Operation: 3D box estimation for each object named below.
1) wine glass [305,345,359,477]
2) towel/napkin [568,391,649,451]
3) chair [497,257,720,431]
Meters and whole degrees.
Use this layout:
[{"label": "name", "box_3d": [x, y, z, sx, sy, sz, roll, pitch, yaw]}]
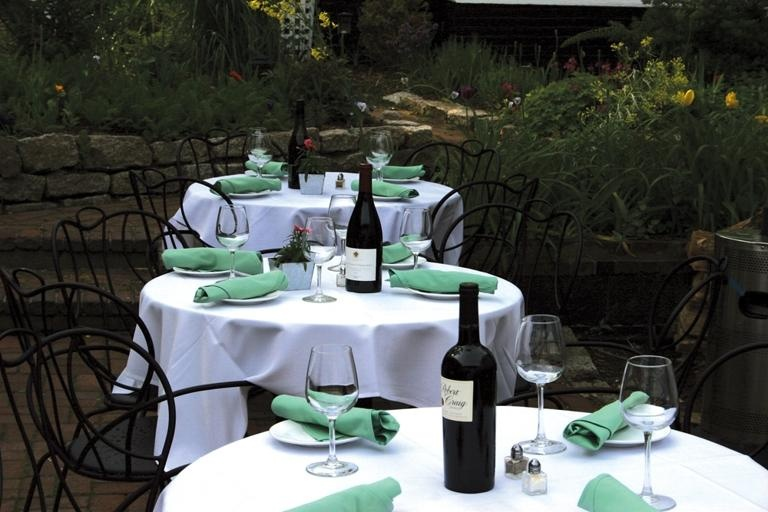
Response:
[{"label": "wine glass", "box_3d": [-0.186, 0.533, 2.829, 0.185, 0.452, 0.180, 1, 11, -6]}, {"label": "towel/napkin", "box_3d": [0.798, 0.561, 2.890, 0.162, 0.095, 0.295, 23, 37, 40]}, {"label": "chair", "box_3d": [1.333, 0.482, 4.683, 0.833, 1.200, 0.749, 3, 20, 10]}]
